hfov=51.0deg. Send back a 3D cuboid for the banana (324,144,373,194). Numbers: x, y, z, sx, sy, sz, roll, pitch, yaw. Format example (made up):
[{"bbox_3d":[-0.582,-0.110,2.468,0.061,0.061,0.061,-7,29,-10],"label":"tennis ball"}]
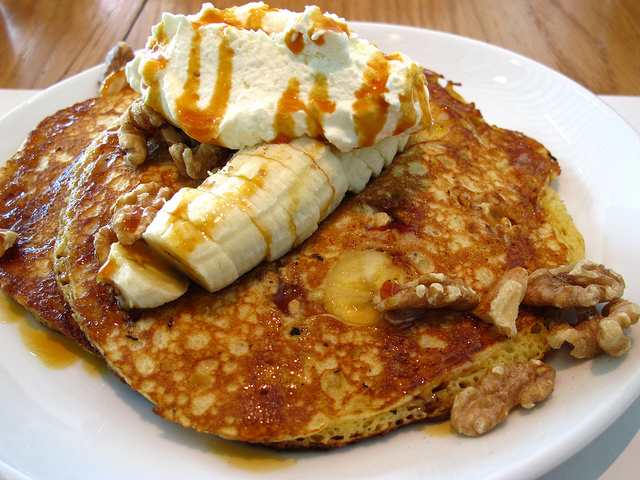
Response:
[{"bbox_3d":[0.149,-0.368,3.678,0.242,0.236,0.094,37,64,25],"label":"banana"}]
